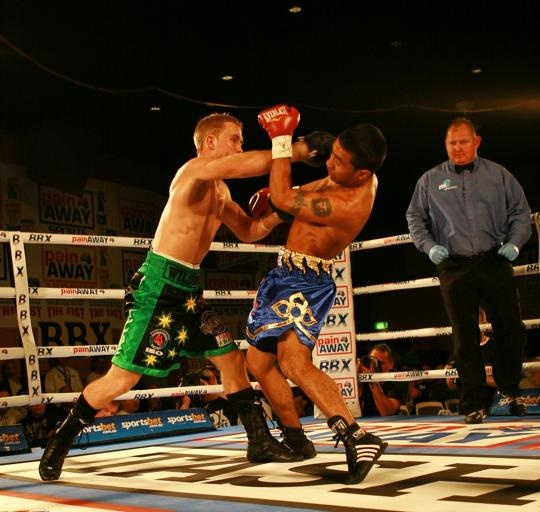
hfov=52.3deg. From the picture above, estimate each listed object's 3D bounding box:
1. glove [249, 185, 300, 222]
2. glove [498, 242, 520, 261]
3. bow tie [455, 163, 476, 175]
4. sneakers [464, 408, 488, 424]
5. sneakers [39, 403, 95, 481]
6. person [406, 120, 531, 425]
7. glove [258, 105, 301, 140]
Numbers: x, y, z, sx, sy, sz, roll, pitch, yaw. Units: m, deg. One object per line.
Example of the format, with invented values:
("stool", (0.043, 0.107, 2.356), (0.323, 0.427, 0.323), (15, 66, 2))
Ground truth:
("glove", (-0.027, -0.254, 2.854), (0.289, 0.167, 0.091), (19, 36, -1))
("glove", (1.454, -0.025, 3.322), (0.106, 0.116, 0.185), (-5, -5, 38))
("bow tie", (1.236, -0.551, 3.488), (0.100, 0.045, 0.088), (-1, -1, -32))
("sneakers", (1.198, 0.939, 3.230), (0.105, 0.084, 0.158), (-2, -4, 13))
("sneakers", (-0.876, 0.775, 2.393), (0.213, 0.315, 0.265), (-2, -4, -3))
("person", (1.251, 0.056, 3.437), (0.750, 1.903, 0.379), (-3, -5, 16))
("glove", (0.051, -0.583, 2.530), (0.226, 0.158, 0.077), (-9, -26, -5))
